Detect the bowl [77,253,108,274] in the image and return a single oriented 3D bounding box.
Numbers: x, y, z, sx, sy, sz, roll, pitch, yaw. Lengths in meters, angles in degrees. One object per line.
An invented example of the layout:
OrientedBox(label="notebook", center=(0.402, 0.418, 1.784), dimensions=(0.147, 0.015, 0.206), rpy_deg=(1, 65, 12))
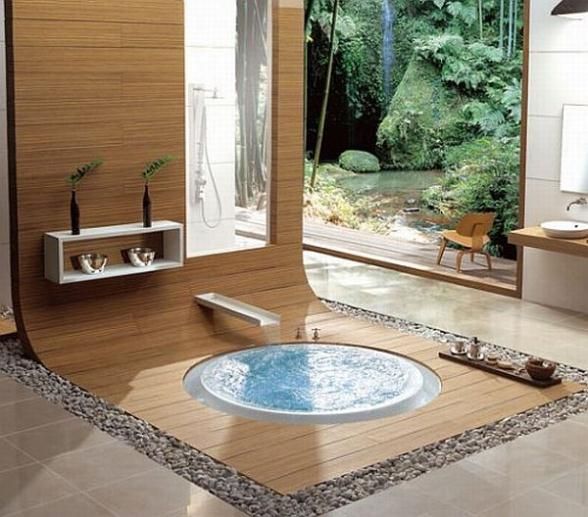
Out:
OrientedBox(label="bowl", center=(-1.463, 0.033, 3.607), dimensions=(0.193, 0.089, 0.176), rpy_deg=(1, 6, 0))

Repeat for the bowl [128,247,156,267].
OrientedBox(label="bowl", center=(-1.167, -0.011, 3.789), dimensions=(0.192, 0.074, 0.169), rpy_deg=(-3, 8, -24))

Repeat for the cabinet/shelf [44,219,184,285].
OrientedBox(label="cabinet/shelf", center=(-1.333, -0.052, 3.738), dimensions=(0.978, 0.401, 0.283), rpy_deg=(-9, 15, -40))

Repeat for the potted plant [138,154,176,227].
OrientedBox(label="potted plant", center=(-1.088, -0.540, 3.920), dimensions=(0.227, 0.543, 0.412), rpy_deg=(5, 13, 21))

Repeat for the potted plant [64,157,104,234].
OrientedBox(label="potted plant", center=(-1.532, -0.452, 3.593), dimensions=(0.203, 0.525, 0.373), rpy_deg=(2, 12, 9))

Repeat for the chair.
OrientedBox(label="chair", center=(2.297, -0.246, 6.489), dimensions=(0.649, 0.625, 0.533), rpy_deg=(-2, 7, -13))

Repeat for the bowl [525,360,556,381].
OrientedBox(label="bowl", center=(1.637, 0.731, 3.272), dimensions=(0.162, 0.070, 0.153), rpy_deg=(-1, 6, 0))
